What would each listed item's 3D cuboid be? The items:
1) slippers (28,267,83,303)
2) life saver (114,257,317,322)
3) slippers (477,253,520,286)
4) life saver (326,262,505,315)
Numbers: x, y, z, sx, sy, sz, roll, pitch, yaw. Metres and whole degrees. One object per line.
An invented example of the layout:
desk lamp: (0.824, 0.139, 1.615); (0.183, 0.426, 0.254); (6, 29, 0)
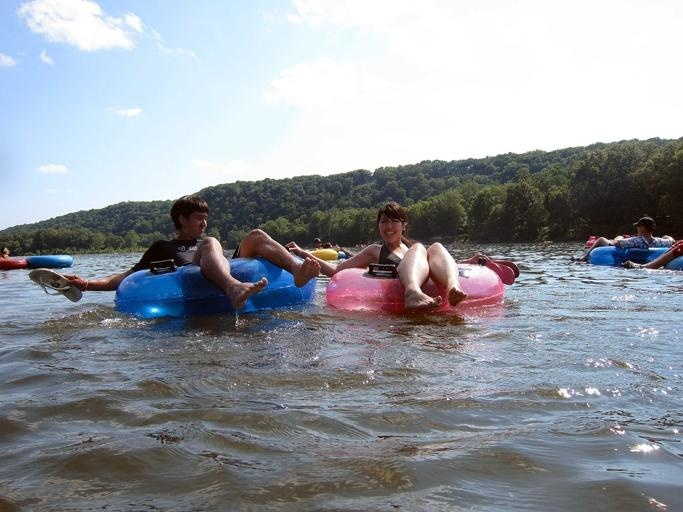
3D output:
slippers: (-2.751, 0.282, 5.233); (0.568, 0.129, 0.245); (22, -58, -42)
life saver: (-1.216, 0.316, 5.066); (1.745, 0.509, 0.620); (-4, 9, -20)
slippers: (1.830, 0.162, 6.228); (0.506, 0.176, 0.303); (21, 32, 8)
life saver: (0.669, 0.284, 5.091); (1.597, 0.431, 0.924); (1, 1, 21)
